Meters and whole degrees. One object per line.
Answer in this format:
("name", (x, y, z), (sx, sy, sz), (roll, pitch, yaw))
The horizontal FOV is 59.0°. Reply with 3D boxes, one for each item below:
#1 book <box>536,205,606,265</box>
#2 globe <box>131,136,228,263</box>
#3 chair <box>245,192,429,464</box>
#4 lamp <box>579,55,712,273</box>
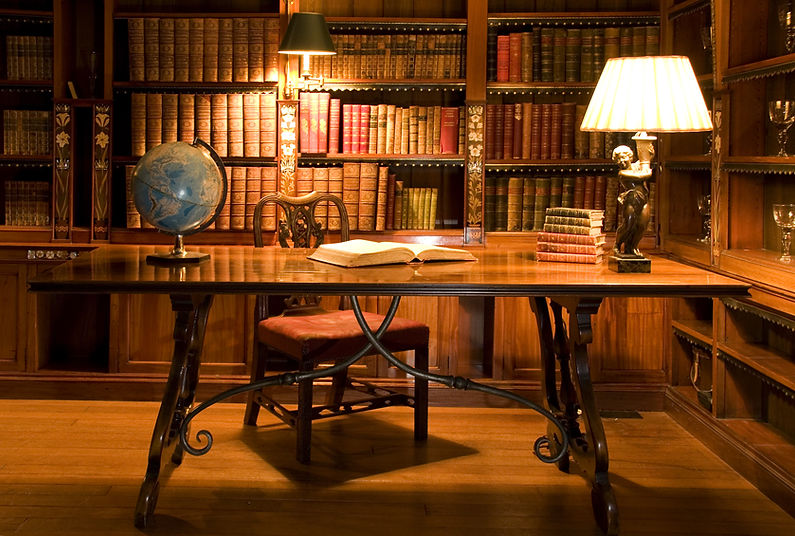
("book", (0.785, -0.169, 3.212), (0.320, 0.235, 0.273), (8, 11, 24))
("globe", (-0.933, -0.320, 3.059), (0.371, 0.545, 0.333), (1, 11, -7))
("chair", (-0.316, 0.360, 3.946), (0.915, 1.516, 0.898), (-1, 3, -34))
("lamp", (0.993, -0.395, 3.055), (0.499, 0.931, 0.491), (0, 2, -4))
